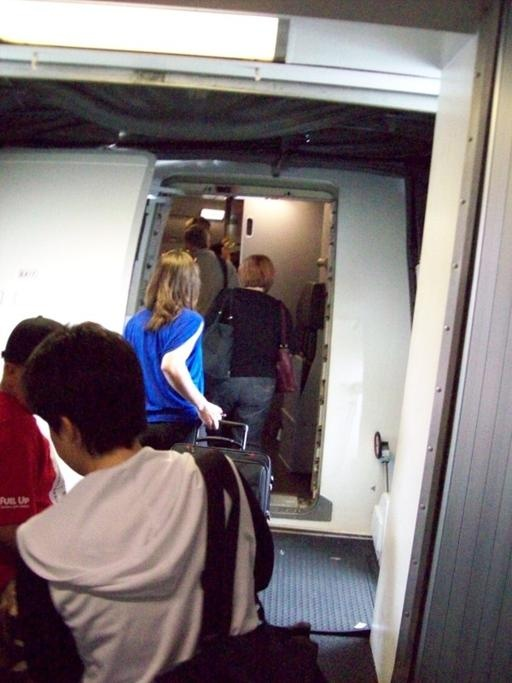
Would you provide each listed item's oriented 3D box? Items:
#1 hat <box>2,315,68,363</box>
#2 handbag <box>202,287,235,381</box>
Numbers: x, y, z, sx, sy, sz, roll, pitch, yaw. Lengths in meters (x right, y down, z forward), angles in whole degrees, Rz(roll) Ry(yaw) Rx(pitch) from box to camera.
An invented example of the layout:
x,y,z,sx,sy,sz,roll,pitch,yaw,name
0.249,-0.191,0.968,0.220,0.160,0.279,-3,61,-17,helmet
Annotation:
x,y,z,sx,sy,sz,roll,pitch,yaw,name
-0.544,-0.004,1.362,0.139,0.113,0.188,3,17,-2,hat
-0.227,-0.023,3.339,0.183,0.738,0.323,6,-28,-2,handbag
